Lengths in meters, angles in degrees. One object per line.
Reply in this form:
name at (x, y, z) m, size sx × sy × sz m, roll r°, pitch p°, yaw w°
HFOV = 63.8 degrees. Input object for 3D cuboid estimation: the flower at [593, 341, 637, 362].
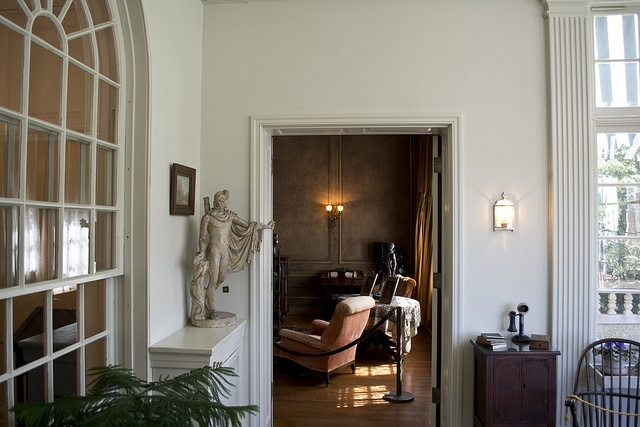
flower at (2.756, 1.268, 4.729) m, size 0.242 × 0.099 × 0.237 m, roll 2°, pitch -6°, yaw -17°

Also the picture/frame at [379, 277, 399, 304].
picture/frame at (0.874, 0.985, 6.580) m, size 0.153 × 0.374 × 0.378 m, roll -2°, pitch 3°, yaw -30°

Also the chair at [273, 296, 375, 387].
chair at (0.050, 1.594, 6.783) m, size 1.188 × 1.081 × 0.987 m, roll 2°, pitch -1°, yaw 23°

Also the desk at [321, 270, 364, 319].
desk at (0.436, 1.574, 10.054) m, size 0.760 × 0.925 × 0.669 m, roll -3°, pitch 1°, yaw -9°

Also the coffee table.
coffee table at (0.923, 1.600, 7.019) m, size 0.896 × 0.662 × 0.924 m, roll 7°, pitch -11°, yaw -21°

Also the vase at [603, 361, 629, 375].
vase at (2.696, 1.392, 4.641) m, size 0.146 × 0.088 × 0.148 m, roll 2°, pitch -4°, yaw -9°

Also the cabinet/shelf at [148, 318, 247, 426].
cabinet/shelf at (-1.046, 1.469, 4.619) m, size 0.532 × 0.855 × 0.966 m, roll 1°, pitch 3°, yaw 10°

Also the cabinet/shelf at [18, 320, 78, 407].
cabinet/shelf at (-1.909, 1.142, 3.788) m, size 0.296 × 0.539 × 0.550 m, roll -4°, pitch 1°, yaw -4°

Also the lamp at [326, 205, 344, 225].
lamp at (0.318, 0.027, 10.417) m, size 0.364 × 0.490 × 0.157 m, roll 0°, pitch -4°, yaw 0°

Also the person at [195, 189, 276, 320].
person at (-0.801, 0.384, 4.676) m, size 0.611 × 1.169 × 0.246 m, roll 0°, pitch 3°, yaw -8°
